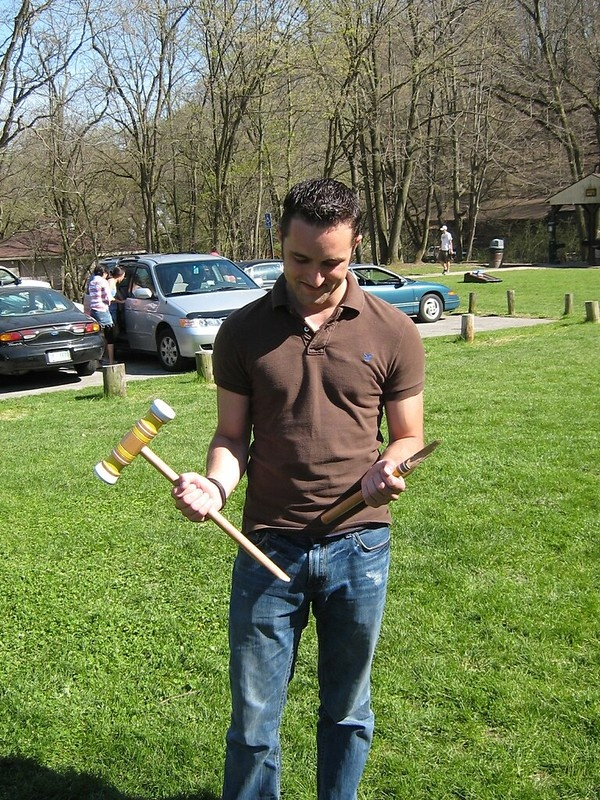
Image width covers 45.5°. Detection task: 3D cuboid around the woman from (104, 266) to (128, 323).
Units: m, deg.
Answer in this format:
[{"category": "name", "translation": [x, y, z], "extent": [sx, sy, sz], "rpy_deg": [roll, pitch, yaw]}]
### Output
[{"category": "woman", "translation": [-3.488, -1.842, 13.598], "extent": [0.413, 1.311, 0.394], "rpy_deg": [-4, 33, -18]}]

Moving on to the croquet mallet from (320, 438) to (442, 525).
[{"category": "croquet mallet", "translation": [0.216, 0.185, 1.655], "extent": [0.282, 0.228, 0.186], "rpy_deg": [5, 8, 36]}]

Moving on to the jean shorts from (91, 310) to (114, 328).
[{"category": "jean shorts", "translation": [-3.504, -1.439, 12.655], "extent": [0.273, 0.407, 0.361], "rpy_deg": [-27, 23, -36]}]

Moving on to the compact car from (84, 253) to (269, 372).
[{"category": "compact car", "translation": [-2.190, -1.683, 13.377], "extent": [2.272, 1.822, 3.801], "rpy_deg": [-3, 1, -36]}]

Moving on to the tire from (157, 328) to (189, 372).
[{"category": "tire", "translation": [-2.122, -0.876, 12.031], "extent": [0.666, 0.659, 0.226], "rpy_deg": [-15, -11, 41]}]
